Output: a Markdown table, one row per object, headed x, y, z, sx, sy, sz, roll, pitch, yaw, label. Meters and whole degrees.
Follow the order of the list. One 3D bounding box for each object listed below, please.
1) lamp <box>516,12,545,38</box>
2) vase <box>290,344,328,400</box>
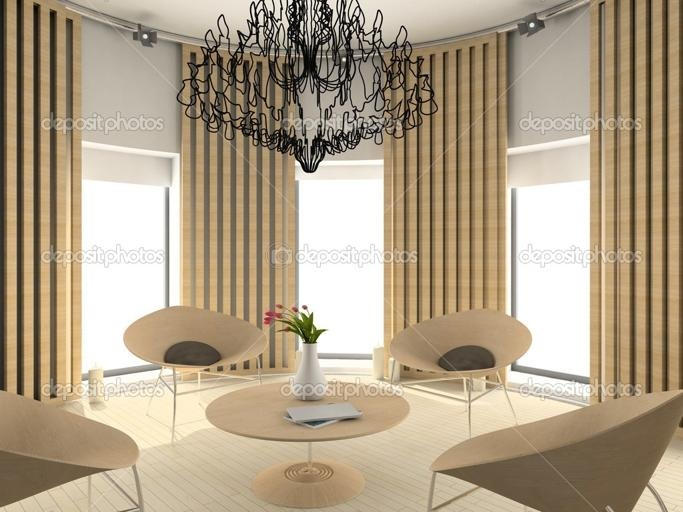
| x | y | z | sx | sy | sz | roll | pitch | yaw | label |
| --- | --- | --- | --- | --- | --- | --- | --- | --- | --- |
| 1.734 | -2.101 | 5.007 | 0.232 | 0.232 | 0.182 | -12 | 17 | 47 | lamp |
| -0.204 | 0.826 | 3.886 | 0.335 | 0.497 | 0.331 | 0 | -6 | 1 | vase |
